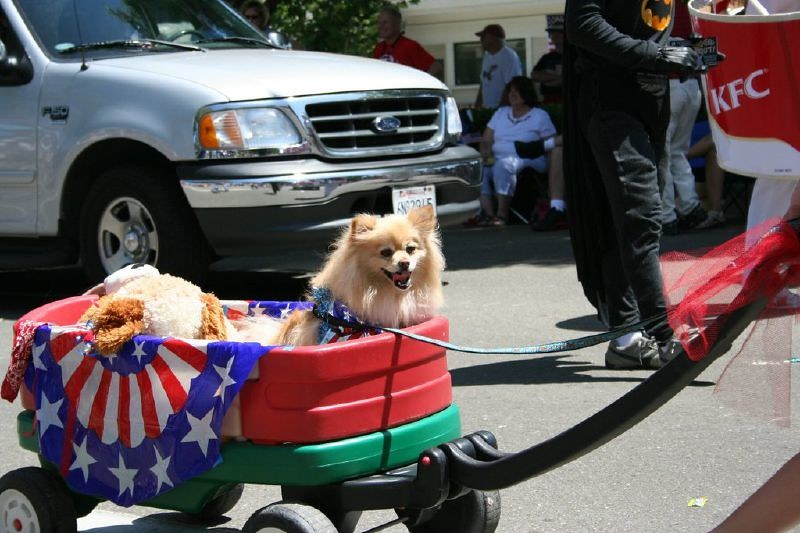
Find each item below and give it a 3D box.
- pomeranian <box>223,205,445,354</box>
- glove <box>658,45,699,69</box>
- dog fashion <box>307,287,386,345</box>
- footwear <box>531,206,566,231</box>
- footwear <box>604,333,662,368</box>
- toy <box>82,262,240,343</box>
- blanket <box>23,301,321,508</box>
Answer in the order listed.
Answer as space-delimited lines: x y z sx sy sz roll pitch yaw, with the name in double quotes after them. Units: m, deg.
-0.260 0.071 4.389 0.927 0.661 0.551 -19 -9 19 "pomeranian"
1.587 -1.187 5.283 0.188 0.123 0.270 -3 15 9 "glove"
-0.264 0.210 4.064 0.271 0.160 0.203 9 9 32 "dog fashion"
1.829 -0.545 11.144 0.579 0.245 0.208 -1 -1 -44 "footwear"
1.535 0.532 5.858 0.444 0.194 0.164 -2 3 17 "footwear"
-1.013 0.192 4.084 0.707 0.356 0.880 -3 5 1 "toy"
-1.117 0.469 4.617 2.002 0.929 0.663 1 1 0 "blanket"
